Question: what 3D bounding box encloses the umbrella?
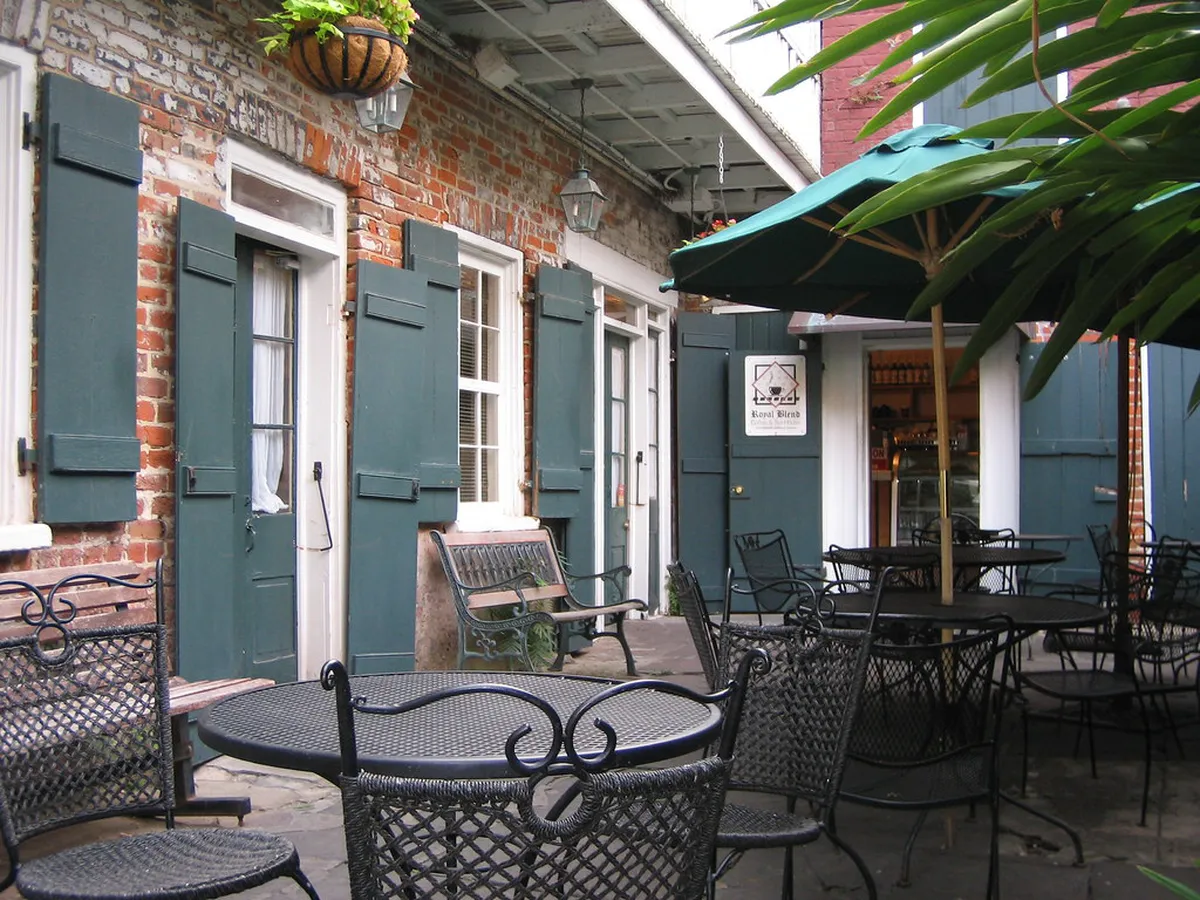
[{"bbox_3d":[1.469,-0.165,5.341,2.187,1.771,2.241,-1,1,14],"label":"umbrella"}]
